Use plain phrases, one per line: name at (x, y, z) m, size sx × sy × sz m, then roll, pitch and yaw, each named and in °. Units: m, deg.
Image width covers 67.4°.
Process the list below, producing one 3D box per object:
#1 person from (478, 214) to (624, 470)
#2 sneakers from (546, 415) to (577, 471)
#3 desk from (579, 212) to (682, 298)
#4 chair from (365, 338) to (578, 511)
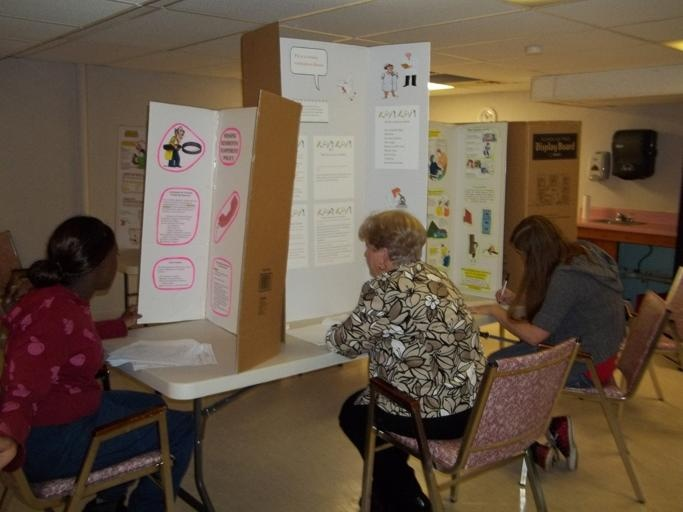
person at (1.209, 0.504, 3.017) m, size 0.581 × 1.353 × 0.731 m, roll -6°, pitch 8°, yaw -38°
sneakers at (1.284, 1.065, 3.023) m, size 0.154 × 0.406 × 0.134 m, roll -9°, pitch 6°, yaw 24°
desk at (2.863, -0.017, 4.972) m, size 0.528 × 0.972 × 0.979 m, roll 0°, pitch 2°, yaw -24°
chair at (0.505, 0.742, 2.019) m, size 0.838 × 0.865 × 0.396 m, roll 1°, pitch 11°, yaw 2°
